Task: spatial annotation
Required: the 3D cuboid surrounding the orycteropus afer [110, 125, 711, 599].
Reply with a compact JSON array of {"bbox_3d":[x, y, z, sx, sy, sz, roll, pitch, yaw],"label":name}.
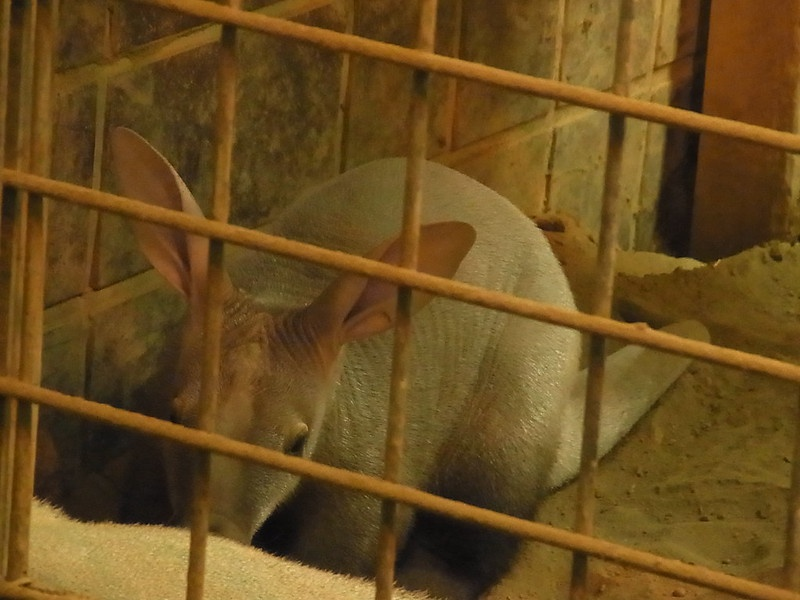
[{"bbox_3d":[-0.094,0.152,5.533,0.808,0.890,1.991,18,25,24],"label":"orycteropus afer"}]
